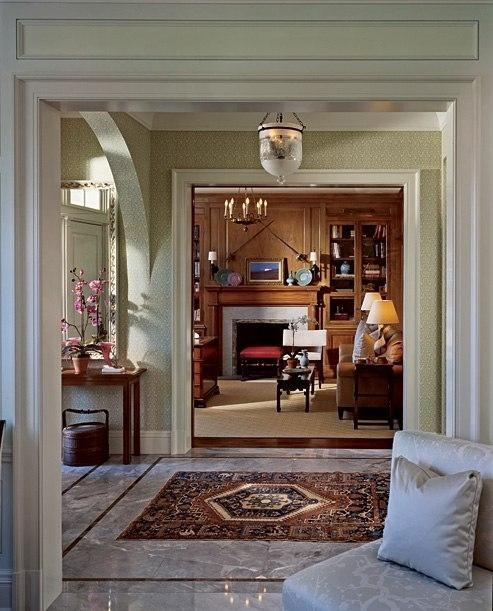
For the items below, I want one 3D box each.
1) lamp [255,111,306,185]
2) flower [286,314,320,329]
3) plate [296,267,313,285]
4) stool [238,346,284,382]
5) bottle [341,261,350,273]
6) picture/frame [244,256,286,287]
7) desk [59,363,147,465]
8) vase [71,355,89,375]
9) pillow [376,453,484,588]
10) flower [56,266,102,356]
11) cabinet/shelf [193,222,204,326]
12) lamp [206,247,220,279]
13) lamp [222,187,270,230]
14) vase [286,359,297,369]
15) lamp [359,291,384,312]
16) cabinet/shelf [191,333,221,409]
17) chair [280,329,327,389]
[{"bbox_3d":[0.273,-1.248,4.151,0.340,0.390,0.205,-1,-2,7],"label":"lamp"},{"bbox_3d":[1.062,0.313,9.895,0.589,0.263,0.259,-1,-2,14],"label":"flower"},{"bbox_3d":[1.079,-0.532,9.853,0.329,0.334,0.140,-1,-2,2],"label":"plate"},{"bbox_3d":[0.234,1.076,9.631,0.602,0.477,0.751,-1,-3,4],"label":"stool"},{"bbox_3d":[1.863,-0.708,9.865,0.185,0.254,0.098,-1,-2,-8],"label":"bottle"},{"bbox_3d":[0.371,-0.657,9.982,0.590,0.406,0.047,1,0,5],"label":"picture/frame"},{"bbox_3d":[-1.346,1.041,4.989,0.658,0.860,0.635,-1,-2,4],"label":"desk"},{"bbox_3d":[-1.562,0.552,4.877,0.155,0.124,0.151,0,3,-21],"label":"vase"},{"bbox_3d":[0.575,0.668,1.609,0.128,0.318,0.343,23,-14,-27],"label":"pillow"},{"bbox_3d":[-1.575,0.063,5.047,0.411,0.852,0.312,0,-2,-19],"label":"flower"},{"bbox_3d":[-0.958,-0.597,10.153,0.137,1.915,0.343,-1,-2,-5],"label":"cabinet/shelf"},{"bbox_3d":[-0.658,-0.791,9.993,0.216,0.549,0.204,-1,-2,-2],"label":"lamp"},{"bbox_3d":[-0.006,-1.789,9.425,0.817,1.166,0.807,0,2,-1],"label":"lamp"},{"bbox_3d":[0.668,0.882,7.831,0.136,0.097,0.132,3,-5,-40],"label":"vase"},{"bbox_3d":[1.953,-0.079,8.230,0.396,0.378,0.391,-1,1,-2],"label":"lamp"},{"bbox_3d":[-0.596,0.953,7.439,0.445,0.717,1.134,0,3,1],"label":"cabinet/shelf"},{"bbox_3d":[1.079,0.916,9.247,0.969,1.211,0.930,0,-1,6],"label":"chair"}]
